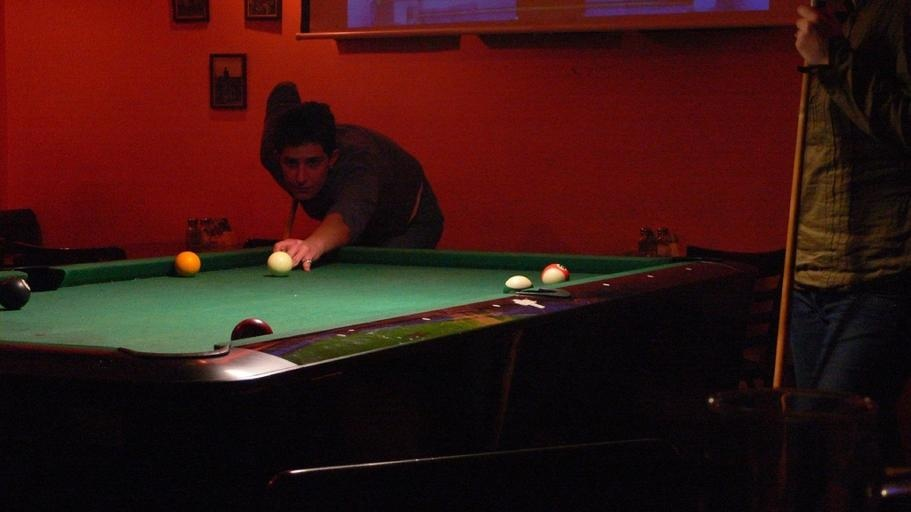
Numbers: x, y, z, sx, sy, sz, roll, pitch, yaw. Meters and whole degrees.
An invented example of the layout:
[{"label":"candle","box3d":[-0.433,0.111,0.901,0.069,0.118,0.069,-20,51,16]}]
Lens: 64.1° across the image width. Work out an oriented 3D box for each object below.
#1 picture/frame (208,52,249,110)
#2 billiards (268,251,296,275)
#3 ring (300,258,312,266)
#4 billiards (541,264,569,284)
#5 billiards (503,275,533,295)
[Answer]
[{"label":"picture/frame","box3d":[-1.840,-1.453,5.960,0.386,0.467,0.025,1,6,-4]},{"label":"billiards","box3d":[-0.816,0.037,3.452,0.127,0.102,0.117,-7,9,-11]},{"label":"ring","box3d":[-0.730,0.032,3.586,0.047,0.011,0.041,-2,12,-2]},{"label":"billiards","box3d":[0.432,0.083,3.218,0.101,0.086,0.101,15,17,32]},{"label":"billiards","box3d":[0.250,0.112,2.863,0.087,0.042,0.077,1,5,2]}]
